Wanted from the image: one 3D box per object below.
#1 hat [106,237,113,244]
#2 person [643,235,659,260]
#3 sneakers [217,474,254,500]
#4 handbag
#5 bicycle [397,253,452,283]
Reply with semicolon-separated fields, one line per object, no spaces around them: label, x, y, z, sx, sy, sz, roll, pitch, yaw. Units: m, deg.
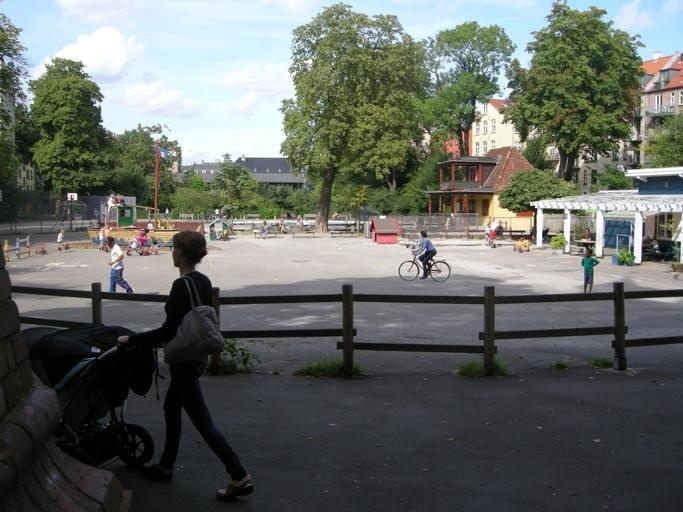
hat;-6.205;-0.382;19.669;0.163;0.215;0.210;0;8;-12
person;14.259;-0.228;34.052;0.727;0.910;1.614;2;5;22
sneakers;-0.959;2.107;6.584;0.287;0.132;0.162;-20;13;-9
handbag;-1.328;0.778;6.824;0.501;0.523;0.516;-7;-11;40
bicycle;2.859;0.500;25.466;1.791;1.142;0.898;-5;11;0
